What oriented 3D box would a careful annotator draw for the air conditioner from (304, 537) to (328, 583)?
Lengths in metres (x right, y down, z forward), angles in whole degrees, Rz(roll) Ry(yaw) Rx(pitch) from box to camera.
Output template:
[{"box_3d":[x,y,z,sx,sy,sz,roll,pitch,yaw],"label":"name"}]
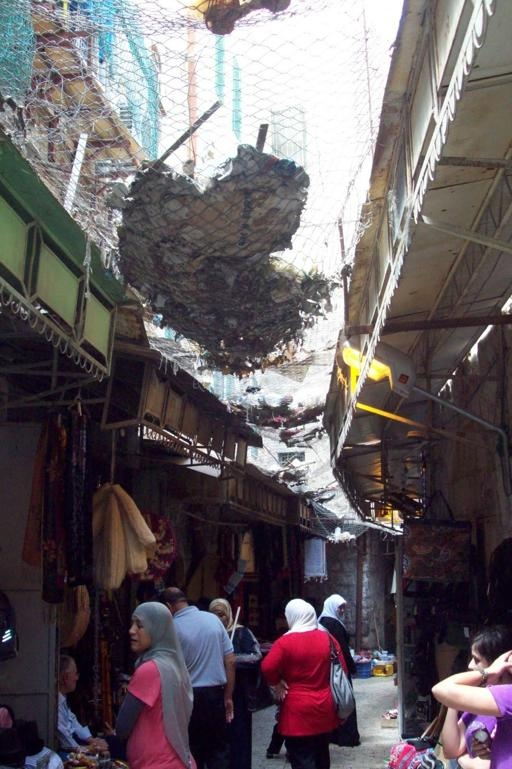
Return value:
[{"box_3d":[1.503,4.433,17.609,0.574,0.986,0.966,-2,-18,3],"label":"air conditioner"}]
